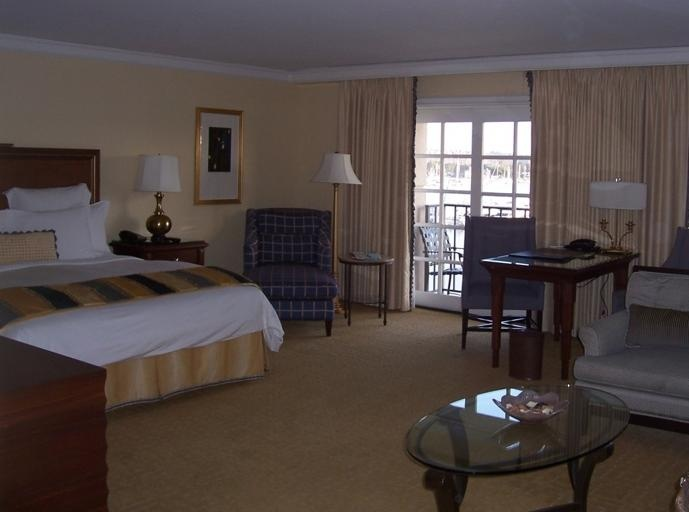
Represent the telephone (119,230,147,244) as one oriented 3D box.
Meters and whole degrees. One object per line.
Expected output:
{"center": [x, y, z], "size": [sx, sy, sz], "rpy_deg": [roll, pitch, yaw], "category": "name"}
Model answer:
{"center": [-2.454, -0.211, 6.334], "size": [0.226, 0.095, 0.173], "rpy_deg": [1, 0, 10], "category": "telephone"}
